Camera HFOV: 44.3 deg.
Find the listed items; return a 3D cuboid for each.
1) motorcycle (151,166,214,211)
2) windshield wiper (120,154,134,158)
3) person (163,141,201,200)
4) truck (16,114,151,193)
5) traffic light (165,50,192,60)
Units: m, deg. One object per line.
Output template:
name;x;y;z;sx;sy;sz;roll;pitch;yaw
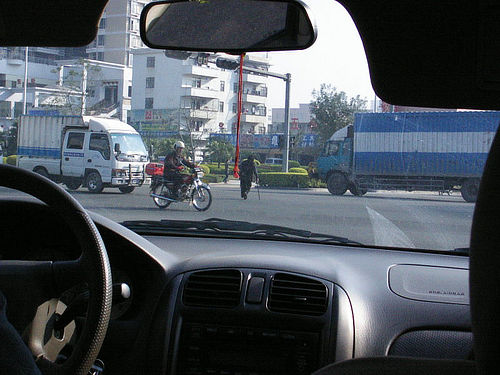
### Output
motorcycle;-1.240;-0.030;10.865;1.078;0.853;0.633;1;0;1
windshield wiper;-3.004;-0.796;15.188;0.071;0.054;0.372;15;12;41
person;-1.260;-0.353;10.845;0.496;1.010;0.417;-11;-20;33
truck;-4.244;-0.867;15.524;3.280;2.061;1.709;2;1;26
traffic light;-0.366;-0.687;3.161;0.140;0.044;0.238;6;10;-9
